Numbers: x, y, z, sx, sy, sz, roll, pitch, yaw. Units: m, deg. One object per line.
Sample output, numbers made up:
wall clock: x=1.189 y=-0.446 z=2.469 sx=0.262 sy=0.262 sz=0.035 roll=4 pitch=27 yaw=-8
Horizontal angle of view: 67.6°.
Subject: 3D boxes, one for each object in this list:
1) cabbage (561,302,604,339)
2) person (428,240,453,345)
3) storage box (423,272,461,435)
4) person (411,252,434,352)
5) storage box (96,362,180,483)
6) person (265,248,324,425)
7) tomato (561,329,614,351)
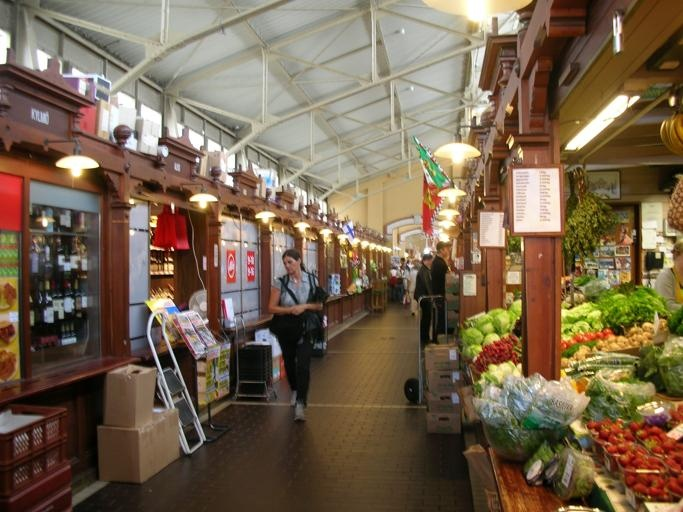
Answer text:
cabbage: x=2.231 y=0.682 z=4.741 sx=0.335 sy=0.150 sz=0.359 roll=-27 pitch=7 yaw=3
person: x=2.226 y=0.827 z=10.938 sx=0.635 sy=2.310 sz=0.580 roll=3 pitch=19 yaw=25
storage box: x=1.185 y=1.555 z=6.076 sx=0.459 sy=0.880 sz=0.610 roll=0 pitch=-1 yaw=8
person: x=1.767 y=0.869 z=10.666 sx=0.448 sy=2.763 sz=0.609 roll=5 pitch=0 yaw=6
storage box: x=-1.990 y=1.613 z=5.054 sx=0.531 sy=1.050 sz=0.681 roll=3 pitch=3 yaw=2
person: x=-0.545 y=0.950 z=6.439 sx=0.607 sy=2.143 sz=0.716 roll=0 pitch=0 yaw=13
tomato: x=2.037 y=0.691 z=4.216 sx=0.386 sy=0.157 sz=0.403 roll=-1 pitch=1 yaw=28
